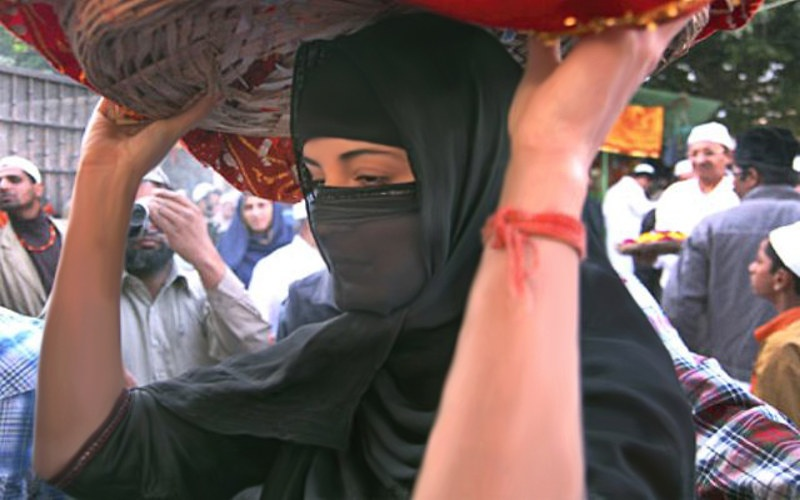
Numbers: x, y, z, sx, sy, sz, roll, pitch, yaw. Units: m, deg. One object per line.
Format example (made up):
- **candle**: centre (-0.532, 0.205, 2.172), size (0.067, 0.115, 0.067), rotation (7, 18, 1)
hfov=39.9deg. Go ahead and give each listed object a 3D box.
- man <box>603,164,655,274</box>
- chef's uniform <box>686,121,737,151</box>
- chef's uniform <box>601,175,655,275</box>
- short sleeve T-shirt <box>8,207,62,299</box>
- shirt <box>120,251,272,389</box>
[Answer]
- **man**: centre (1.737, -0.144, 8.259), size (0.243, 0.622, 0.217), rotation (11, 22, -20)
- **chef's uniform**: centre (2.328, -0.843, 8.176), size (0.283, 0.146, 0.280), rotation (7, 6, 34)
- **chef's uniform**: centre (1.582, -0.153, 7.631), size (0.513, 0.629, 0.194), rotation (15, -27, -40)
- **short sleeve T-shirt**: centre (-2.187, 0.036, 6.640), size (0.387, 0.503, 0.189), rotation (-12, -6, -13)
- **shirt**: centre (-1.293, 0.525, 6.692), size (0.891, 0.956, 0.580), rotation (-12, -1, -30)
